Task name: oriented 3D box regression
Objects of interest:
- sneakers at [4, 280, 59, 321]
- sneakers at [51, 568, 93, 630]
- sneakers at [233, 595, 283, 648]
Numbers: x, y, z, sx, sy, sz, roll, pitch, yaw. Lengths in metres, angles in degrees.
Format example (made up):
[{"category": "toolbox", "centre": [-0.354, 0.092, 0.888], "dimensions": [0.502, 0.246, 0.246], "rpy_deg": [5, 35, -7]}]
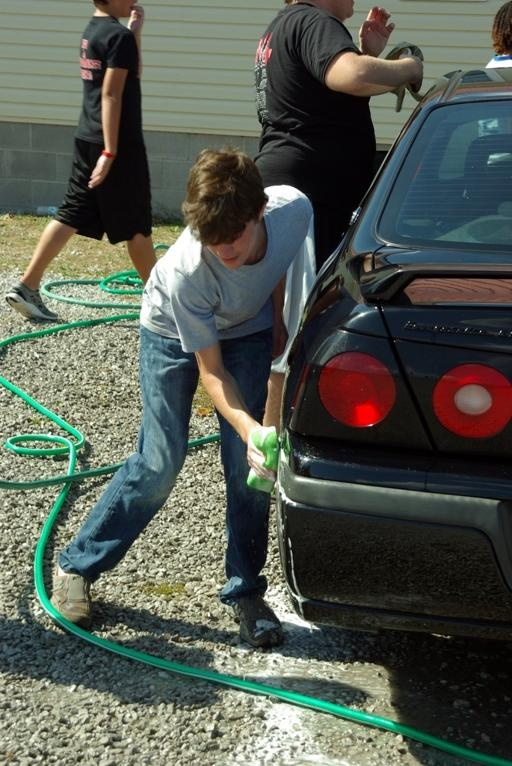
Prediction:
[{"category": "sneakers", "centre": [-1.498, -0.517, 4.878], "dimensions": [0.149, 0.410, 0.174], "rpy_deg": [-1, 66, 36]}, {"category": "sneakers", "centre": [-0.535, 0.628, 2.097], "dimensions": [0.077, 0.080, 0.205], "rpy_deg": [16, 8, -28]}, {"category": "sneakers", "centre": [0.006, 0.678, 2.090], "dimensions": [0.082, 0.069, 0.164], "rpy_deg": [-6, 20, -24]}]
